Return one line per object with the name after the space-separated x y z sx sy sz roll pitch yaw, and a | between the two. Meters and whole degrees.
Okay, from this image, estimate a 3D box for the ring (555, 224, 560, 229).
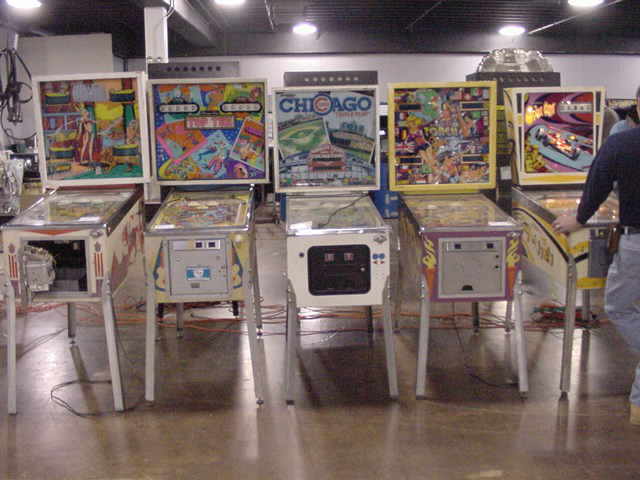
1.480 -0.078 3.513 0.007 0.024 0.027 -6 5 -36 | ring
